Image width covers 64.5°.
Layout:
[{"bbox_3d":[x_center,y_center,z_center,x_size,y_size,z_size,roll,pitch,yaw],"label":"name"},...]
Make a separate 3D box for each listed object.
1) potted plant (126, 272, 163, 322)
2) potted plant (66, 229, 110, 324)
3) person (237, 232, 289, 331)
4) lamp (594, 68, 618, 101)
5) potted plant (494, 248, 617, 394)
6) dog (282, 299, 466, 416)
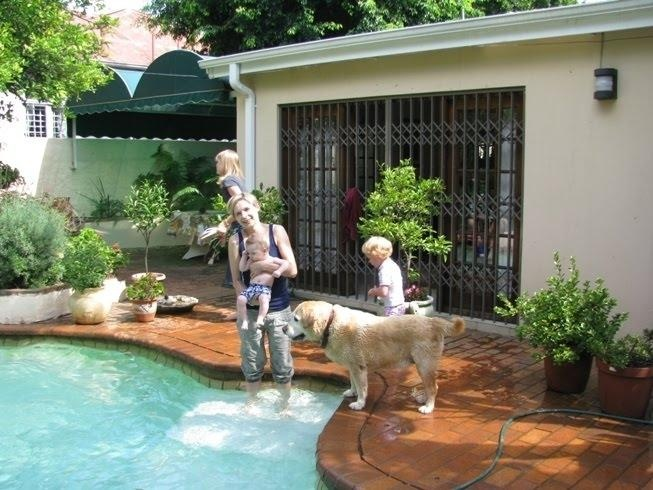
[{"bbox_3d":[-2.728,0.781,7.693,0.514,0.641,0.455,-2,1,7],"label":"potted plant"},{"bbox_3d":[-3.597,0.494,7.587,0.591,1.327,0.785,-8,-7,-10],"label":"potted plant"},{"bbox_3d":[-0.597,0.339,4.767,0.524,0.905,0.211,-6,13,-2],"label":"person"},{"bbox_3d":[3.333,-1.912,6.166,0.256,0.376,0.217,2,15,27],"label":"lamp"},{"bbox_3d":[2.346,0.847,5.156,0.658,1.355,0.911,-17,18,-41],"label":"potted plant"},{"bbox_3d":[0.459,1.042,4.945,1.718,0.984,0.524,1,7,1],"label":"dog"}]
